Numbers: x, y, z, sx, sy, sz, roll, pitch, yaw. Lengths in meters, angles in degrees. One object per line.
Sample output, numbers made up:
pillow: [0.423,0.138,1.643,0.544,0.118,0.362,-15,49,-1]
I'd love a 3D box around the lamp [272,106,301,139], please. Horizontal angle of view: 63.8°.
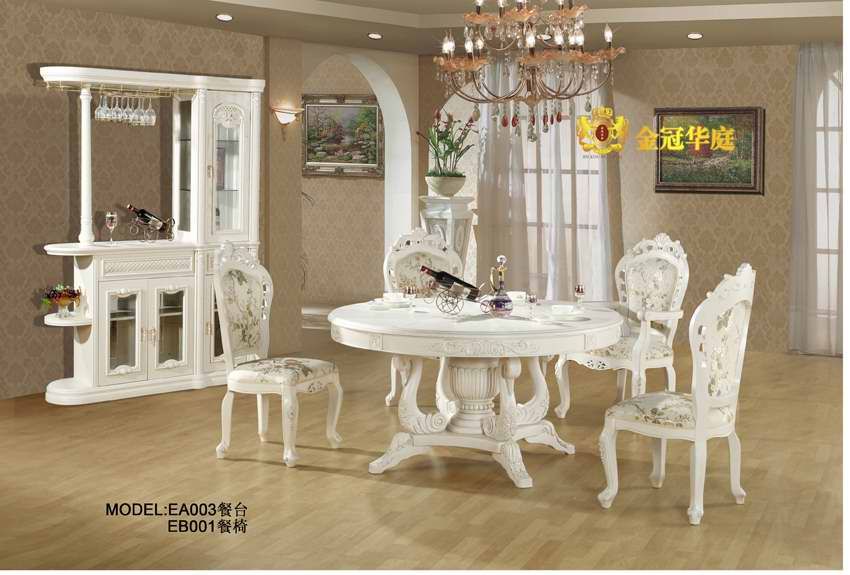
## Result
lamp: [-1.500,-1.790,7.375,0.289,0.285,0.302,1,6,-20]

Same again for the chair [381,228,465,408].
chair: [0.005,0.101,5.407,0.854,1.273,0.774,-4,-8,7]

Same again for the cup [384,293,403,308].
cup: [-0.225,0.087,4.738,0.107,0.045,0.100,0,7,0]

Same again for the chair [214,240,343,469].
chair: [-1.095,0.404,4.772,0.834,1.437,1.018,-5,11,-28]

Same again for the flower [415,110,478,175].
flower: [0.245,-1.619,7.866,0.833,0.758,0.663,-8,23,-37]

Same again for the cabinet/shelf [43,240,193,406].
cabinet/shelf: [-2.609,0.289,5.791,1.398,1.183,0.524,-3,6,-36]

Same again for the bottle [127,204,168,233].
bottle: [-2.515,-0.623,6.242,0.279,0.235,0.566,-4,10,-22]

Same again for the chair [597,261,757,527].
chair: [1.452,0.573,3.863,0.902,1.390,0.523,1,10,5]

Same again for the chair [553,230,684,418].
chair: [1.516,0.320,5.377,0.925,1.390,0.866,4,6,37]
